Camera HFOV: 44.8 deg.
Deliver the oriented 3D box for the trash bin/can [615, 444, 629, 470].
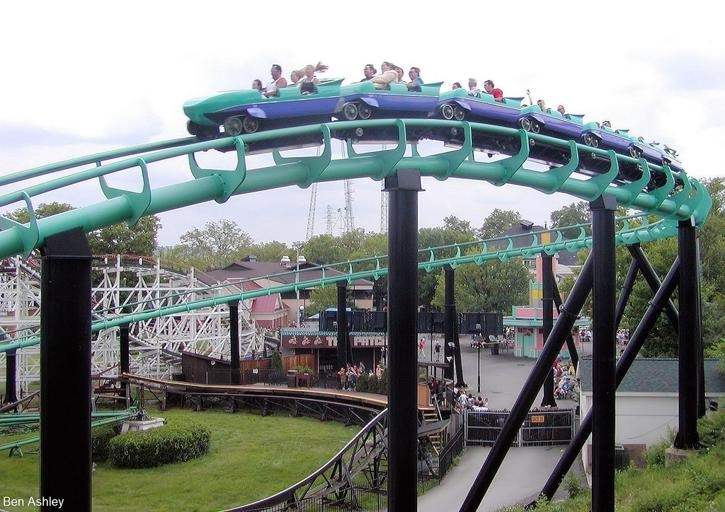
[{"bbox_3d":[7.303,5.748,24.787,0.368,0.532,0.467,-1,-5,13],"label":"trash bin/can"}]
